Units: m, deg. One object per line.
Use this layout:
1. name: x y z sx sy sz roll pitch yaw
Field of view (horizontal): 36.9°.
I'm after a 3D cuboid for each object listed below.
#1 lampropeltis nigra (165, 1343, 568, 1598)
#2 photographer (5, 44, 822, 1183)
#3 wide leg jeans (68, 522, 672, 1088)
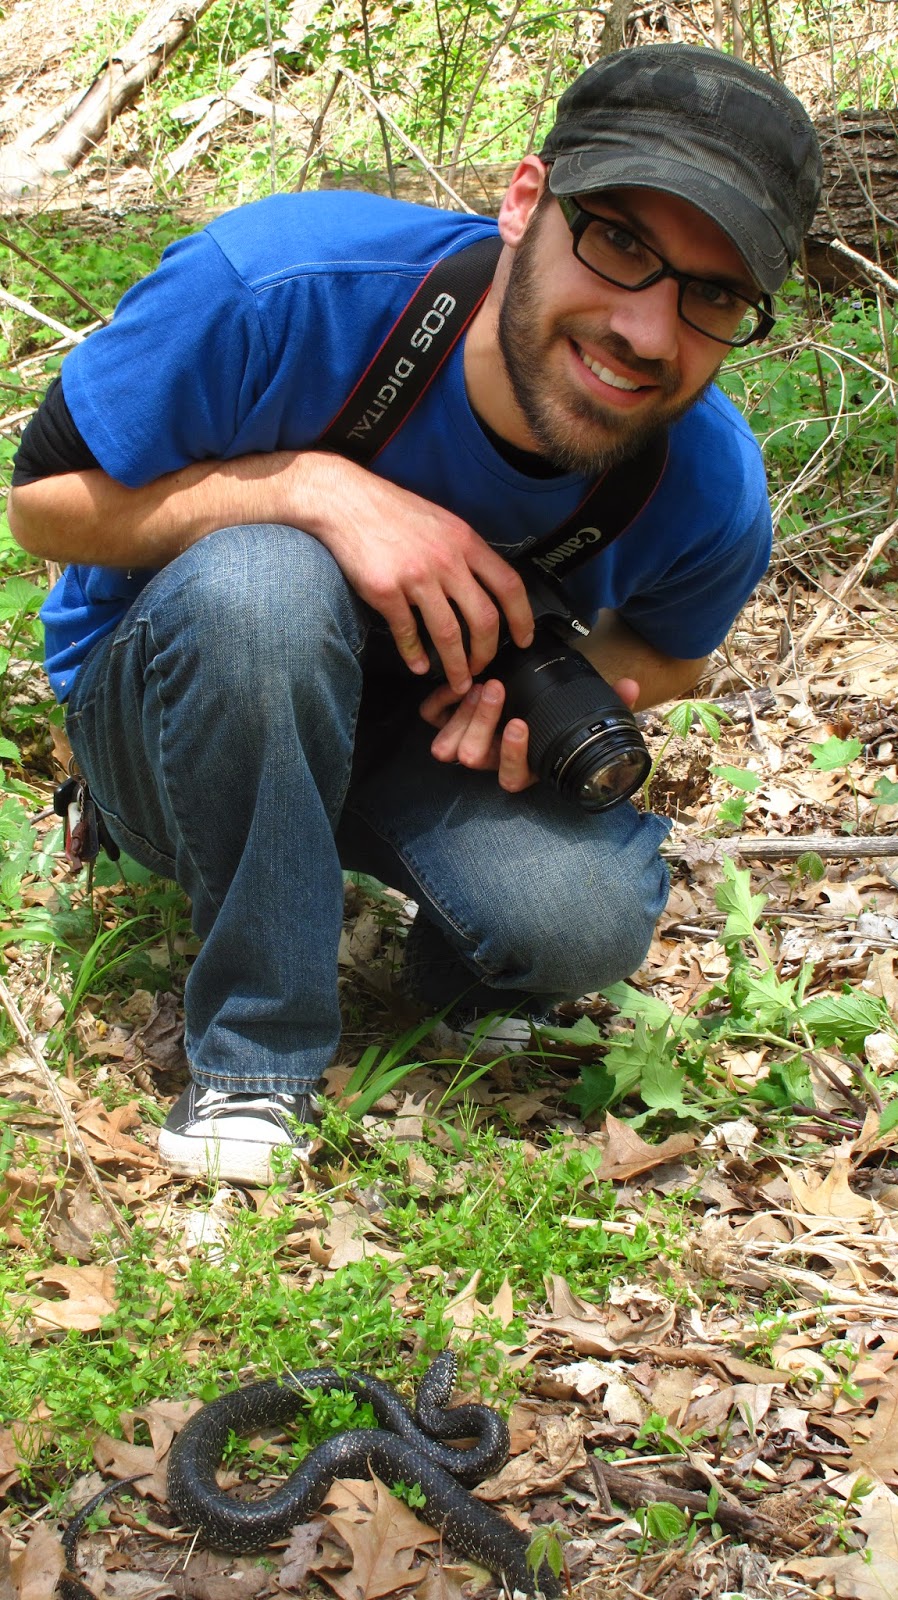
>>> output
1. lampropeltis nigra: -0.099 0.915 1.871 0.540 0.171 0.301 8 10 9
2. photographer: -0.120 -0.331 2.606 1.427 1.993 0.913 6 10 0
3. wide leg jeans: -0.251 -0.087 2.871 1.211 1.066 1.365 -13 34 -33
